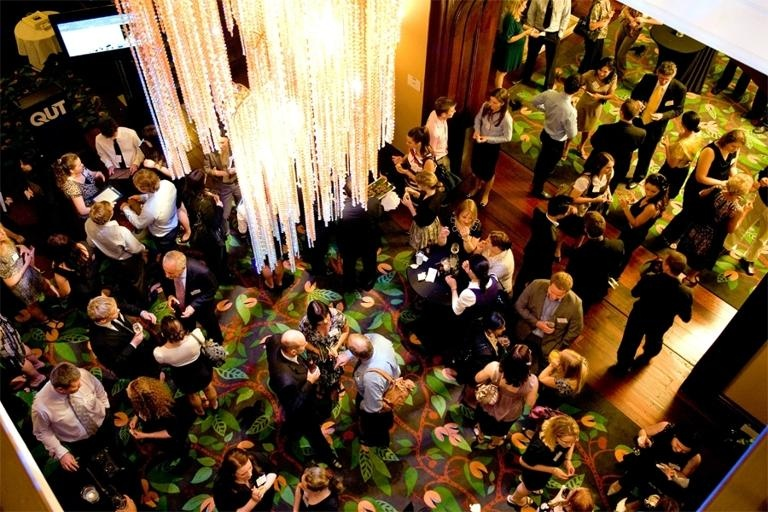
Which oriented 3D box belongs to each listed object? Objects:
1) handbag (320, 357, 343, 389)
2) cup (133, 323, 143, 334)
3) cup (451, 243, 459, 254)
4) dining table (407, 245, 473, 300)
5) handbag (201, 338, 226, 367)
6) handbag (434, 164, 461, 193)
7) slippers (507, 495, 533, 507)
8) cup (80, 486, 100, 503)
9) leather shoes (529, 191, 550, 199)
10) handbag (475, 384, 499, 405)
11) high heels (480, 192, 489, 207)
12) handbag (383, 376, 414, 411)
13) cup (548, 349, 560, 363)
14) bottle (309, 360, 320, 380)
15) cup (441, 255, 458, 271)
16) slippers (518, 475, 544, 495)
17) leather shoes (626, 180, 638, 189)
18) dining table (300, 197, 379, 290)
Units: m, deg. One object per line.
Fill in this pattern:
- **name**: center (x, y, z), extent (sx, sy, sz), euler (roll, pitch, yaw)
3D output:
- **handbag**: center (-0.619, 1.327, 6.075), extent (0.147, 0.409, 0.301), euler (28, 55, 24)
- **cup**: center (-2.878, 0.835, 6.142), extent (0.084, 0.077, 0.064), euler (41, 89, -4)
- **cup**: center (0.885, -0.097, 6.561), extent (0.095, 0.127, 0.125), euler (-2, 81, 2)
- **dining table**: center (0.725, 0.232, 6.666), extent (0.745, 0.238, 0.733), euler (-19, 60, 2)
- **handbag**: center (-1.986, 1.066, 5.960), extent (0.128, 0.240, 0.299), euler (-44, 69, 4)
- **handbag**: center (0.916, -1.139, 7.579), extent (0.169, 0.473, 0.379), euler (-25, 37, 33)
- **slippers**: center (1.493, 2.687, 5.814), extent (0.300, 0.116, 0.152), euler (-2, 75, 5)
- **cup**: center (-3.013, 2.430, 5.409), extent (0.167, 0.119, 0.144), euler (-9, 59, -15)
- **leather shoes**: center (2.474, -0.977, 8.368), extent (0.335, 0.235, 0.111), euler (4, 92, 14)
- **handbag**: center (1.107, 1.471, 5.740), extent (0.193, 0.244, 0.252), euler (9, 78, -9)
- **high heels**: center (1.582, -0.890, 8.269), extent (0.084, 0.102, 0.245), euler (4, 45, 19)
- **handbag**: center (0.151, 1.434, 5.720), extent (0.257, 0.450, 0.329), euler (10, 41, 4)
- **cup**: center (2.033, 1.178, 6.270), extent (0.141, 0.112, 0.156), euler (-4, 77, 6)
- **bottle**: center (-0.759, 1.238, 5.772), extent (0.082, 0.188, 0.137), euler (-9, 22, 22)
- **cup**: center (0.826, 0.088, 6.555), extent (0.134, 0.218, 0.211), euler (6, 96, 30)
- **slippers**: center (1.587, 2.416, 5.618), extent (0.292, 0.144, 0.102), euler (12, 30, -5)
- **leather shoes**: center (3.987, -1.151, 8.459), extent (0.112, 0.047, 0.158), euler (11, 63, 35)
- **dining table**: center (-0.527, -0.149, 6.618), extent (0.748, 2.307, 0.747), euler (8, 64, 1)
